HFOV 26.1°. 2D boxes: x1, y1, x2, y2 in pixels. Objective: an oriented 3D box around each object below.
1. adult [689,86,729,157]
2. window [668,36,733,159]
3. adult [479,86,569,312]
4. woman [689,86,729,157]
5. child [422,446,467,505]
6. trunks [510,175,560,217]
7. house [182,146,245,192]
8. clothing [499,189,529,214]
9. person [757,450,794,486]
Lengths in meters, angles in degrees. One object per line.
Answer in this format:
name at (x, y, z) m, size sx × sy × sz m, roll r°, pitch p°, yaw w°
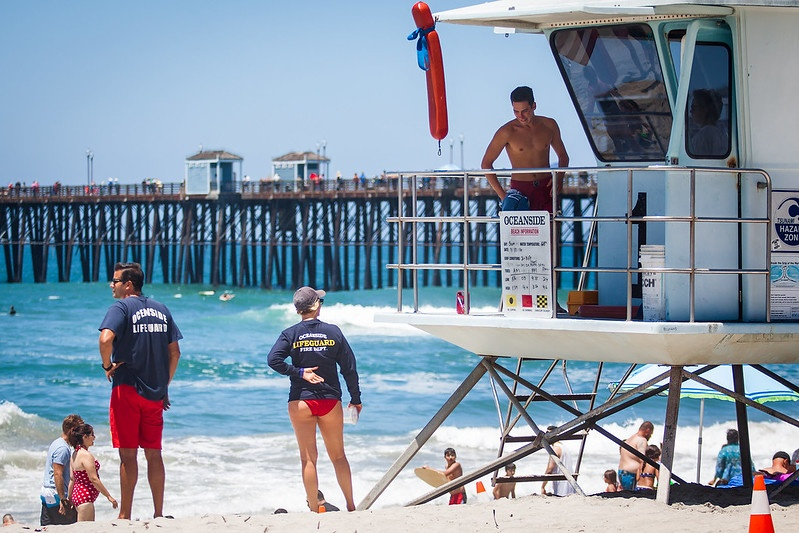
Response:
adult at (5.633, -2.598, 31.332) m, size 0.630 × 1.287 × 1.244 m, roll 3°, pitch 2°, yaw 26°
window at (5.530, -3.082, 31.072) m, size 1.000 × 2.573 × 0.159 m, roll 3°, pitch 35°, yaw 12°
adult at (2.500, -1.193, 32.176) m, size 1.648 × 4.551 × 1.188 m, roll -9°, pitch 13°, yaw -7°
woman at (5.580, -2.667, 31.081) m, size 0.544 × 1.042 × 1.023 m, roll 11°, pitch 15°, yaw 42°
child at (1.019, 4.609, 36.292) m, size 0.802 × 1.599 × 0.499 m, roll -8°, pitch 11°, yaw -9°
trunks at (2.525, -1.373, 32.211) m, size 0.961 × 0.940 × 0.607 m, roll -4°, pitch 1°, yaw -16°
house at (-9.082, -4.685, 84.138) m, size 2.699 × 2.172 × 2.751 m, roll 0°, pitch 2°, yaw 13°
clothing at (2.181, -1.231, 31.970) m, size 0.456 × 0.488 × 0.356 m, roll 3°, pitch -4°, yaw 4°
person at (7.812, 4.170, 35.686) m, size 1.106 × 0.640 × 0.522 m, roll -7°, pitch -33°, yaw 35°
